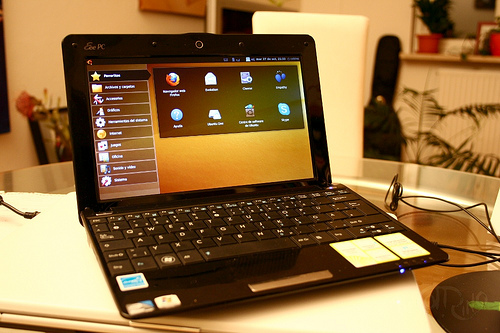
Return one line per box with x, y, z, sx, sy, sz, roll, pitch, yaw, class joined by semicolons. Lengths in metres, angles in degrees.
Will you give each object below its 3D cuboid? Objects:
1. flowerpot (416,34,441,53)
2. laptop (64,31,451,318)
1.485;-1.030;3.155;0.196;0.138;0.155;3;7;15;flowerpot
-0.020;-0.035;0.603;0.494;0.359;0.415;-11;19;-24;laptop
